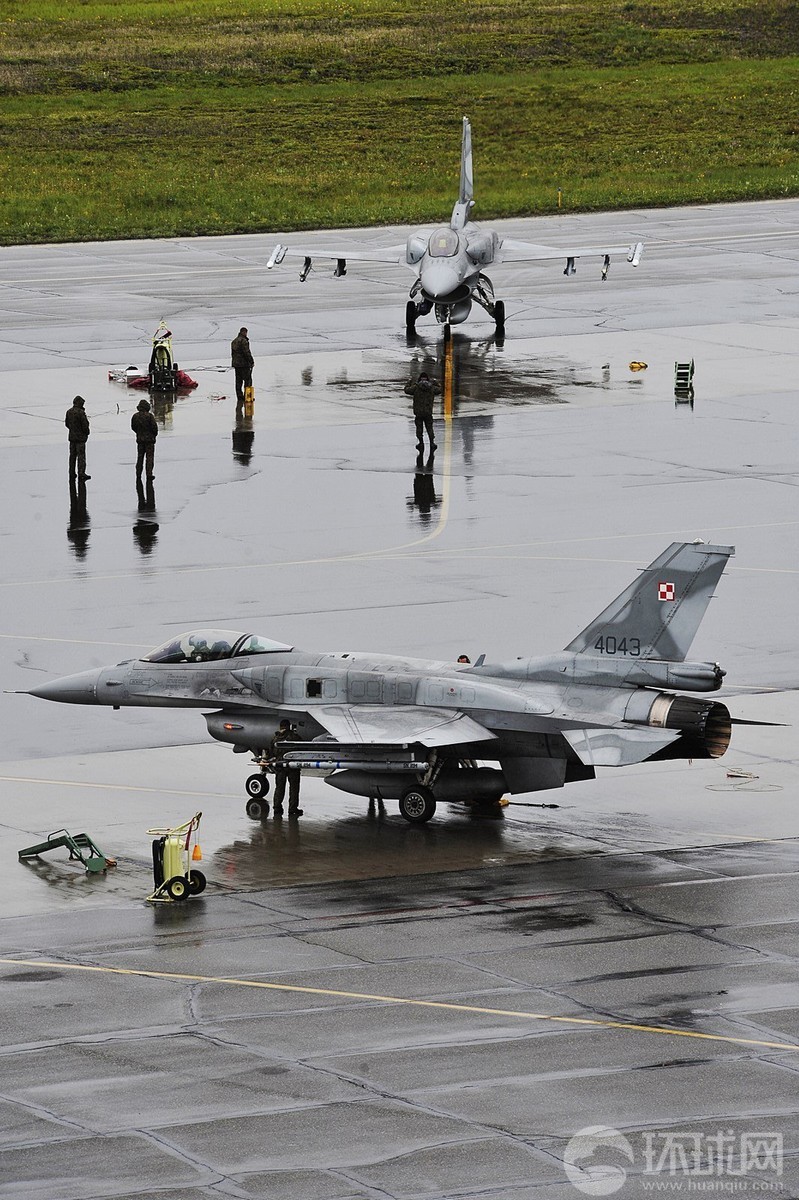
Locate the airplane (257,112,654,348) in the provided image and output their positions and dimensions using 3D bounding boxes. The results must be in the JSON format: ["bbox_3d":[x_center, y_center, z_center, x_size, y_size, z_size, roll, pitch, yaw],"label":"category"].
[{"bbox_3d":[1.411,-10.609,57.152,6.974,6.119,9.652,-4,15,-16],"label":"airplane"}]
